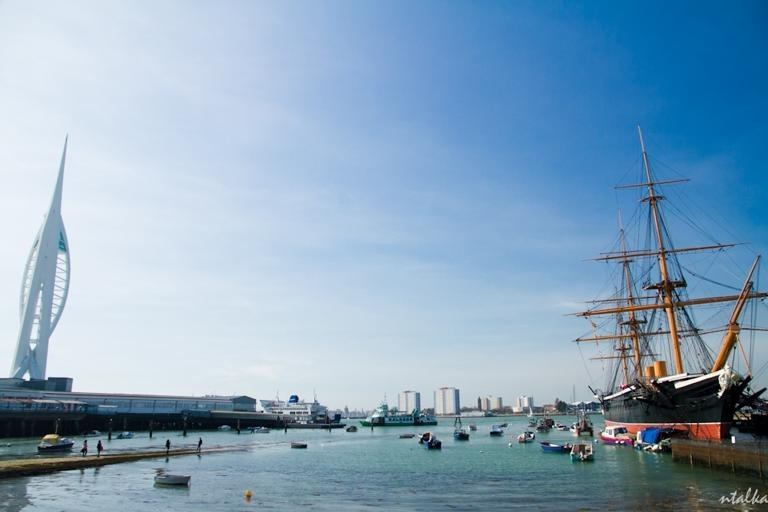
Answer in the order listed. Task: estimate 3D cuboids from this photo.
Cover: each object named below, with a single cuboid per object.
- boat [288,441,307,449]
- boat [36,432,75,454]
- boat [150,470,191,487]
[{"bbox_3d":[-24.750,46.642,132.099,4.161,1.427,2.364,16,-22,-42],"label":"boat"},{"bbox_3d":[-71.086,36.511,104.271,5.424,3.413,7.651,12,-23,-31],"label":"boat"},{"bbox_3d":[-34.272,31.885,77.097,5.735,2.243,1.777,-8,-22,19],"label":"boat"}]
